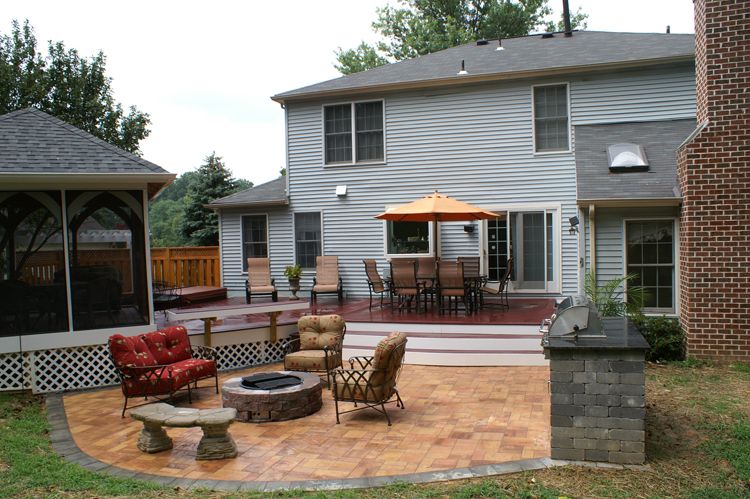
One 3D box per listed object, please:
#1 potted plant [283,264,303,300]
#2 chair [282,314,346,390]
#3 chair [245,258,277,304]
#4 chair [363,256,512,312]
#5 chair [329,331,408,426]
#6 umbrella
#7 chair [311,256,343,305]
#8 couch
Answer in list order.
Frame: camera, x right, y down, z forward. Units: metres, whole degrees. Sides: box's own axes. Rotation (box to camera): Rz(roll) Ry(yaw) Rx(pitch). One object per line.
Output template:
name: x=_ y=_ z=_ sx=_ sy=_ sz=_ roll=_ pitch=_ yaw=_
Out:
potted plant: x=-2.598 y=1.032 z=18.797 sx=0.453 sy=1.043 sz=0.986 roll=-3 pitch=-1 yaw=-8
chair: x=-1.352 y=2.130 z=12.678 sx=1.430 sy=1.283 sz=1.350 roll=-3 pitch=2 yaw=-44
chair: x=-3.524 y=0.922 z=18.218 sx=0.968 sy=1.209 sz=1.041 roll=-1 pitch=8 yaw=-18
chair: x=1.594 y=0.939 z=15.778 sx=3.189 sy=1.452 sz=2.013 roll=-3 pitch=-1 yaw=36
chair: x=0.001 y=2.509 z=11.501 sx=1.752 sy=1.778 sz=1.515 roll=0 pitch=-2 yaw=8
umbrella: x=1.591 y=-0.533 z=15.640 sx=2.745 sy=1.788 sz=2.617 roll=-5 pitch=8 yaw=-28
chair: x=-1.491 y=0.901 z=18.314 sx=0.997 sy=1.264 sz=1.106 roll=0 pitch=6 yaw=-1
couch: x=-4.163 y=2.387 z=11.921 sx=1.353 sy=1.385 sz=2.287 roll=4 pitch=2 yaw=9
